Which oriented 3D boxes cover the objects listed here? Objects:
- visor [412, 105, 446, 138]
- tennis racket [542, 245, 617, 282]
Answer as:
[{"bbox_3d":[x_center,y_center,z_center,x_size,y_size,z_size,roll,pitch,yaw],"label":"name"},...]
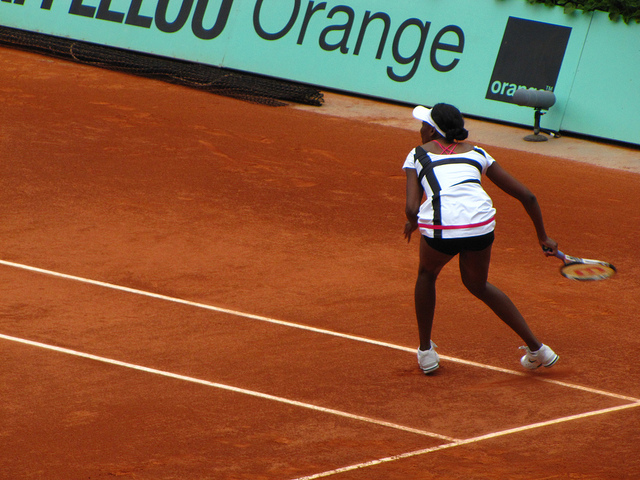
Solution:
[{"bbox_3d":[1.344,-1.478,15.721,0.181,0.295,0.531,1,14,-45],"label":"visor"},{"bbox_3d":[3.477,0.350,16.934,0.601,0.128,1.506,-11,21,-41],"label":"tennis racket"}]
